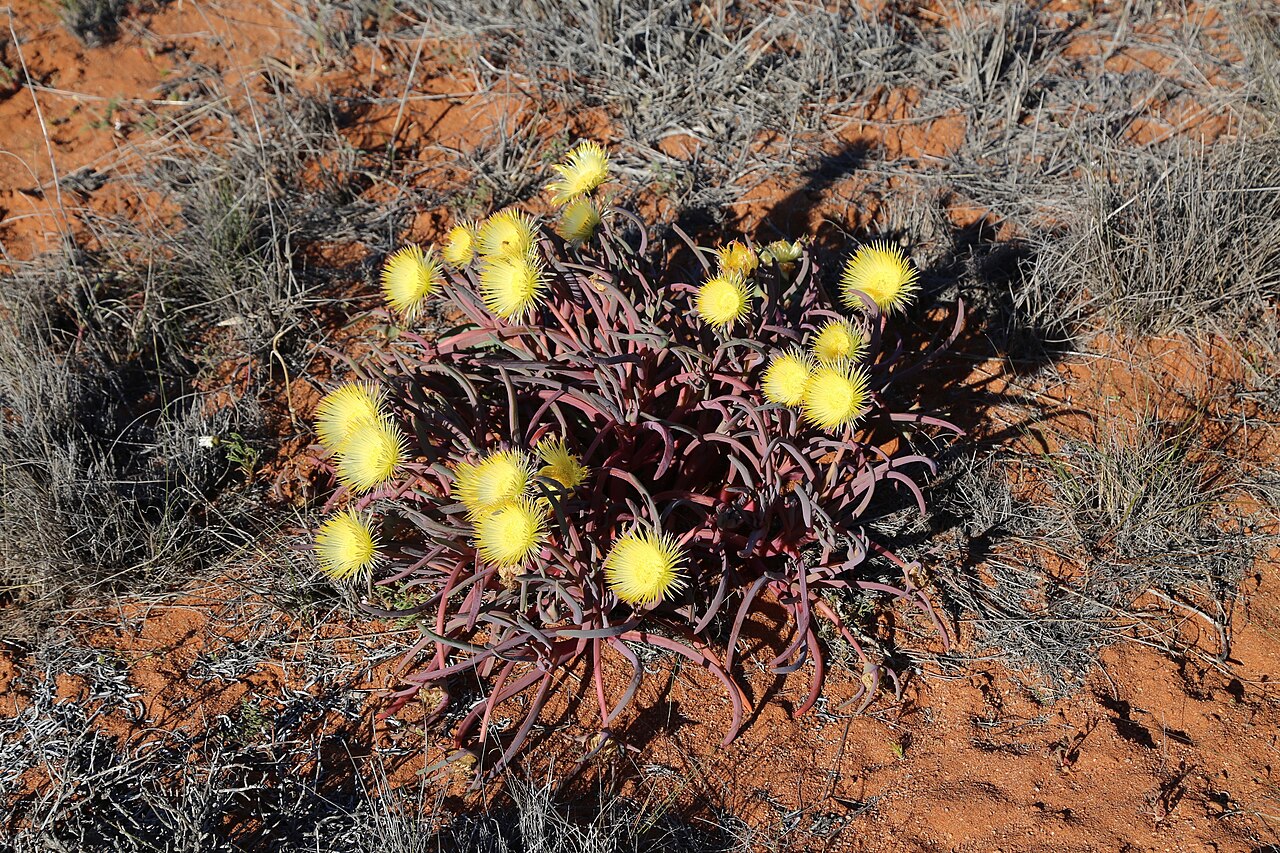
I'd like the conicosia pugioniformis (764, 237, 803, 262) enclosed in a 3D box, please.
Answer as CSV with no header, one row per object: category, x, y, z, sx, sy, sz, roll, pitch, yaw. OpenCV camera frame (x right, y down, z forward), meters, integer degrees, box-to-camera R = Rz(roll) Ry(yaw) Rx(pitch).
conicosia pugioniformis,0.551,-0.679,4.519,0.106,0.074,0.120,-13,60,20

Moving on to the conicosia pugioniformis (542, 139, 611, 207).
conicosia pugioniformis,-0.204,-0.960,4.488,0.313,0.323,0.140,-39,95,16

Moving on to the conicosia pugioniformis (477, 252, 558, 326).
conicosia pugioniformis,-0.462,-0.488,4.314,0.265,0.307,0.225,-1,77,2

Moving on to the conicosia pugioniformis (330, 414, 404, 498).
conicosia pugioniformis,-0.927,0.098,4.063,0.241,0.114,0.216,-23,78,-3

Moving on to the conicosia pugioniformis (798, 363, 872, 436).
conicosia pugioniformis,0.691,-0.089,4.168,0.252,0.304,0.231,-1,77,2

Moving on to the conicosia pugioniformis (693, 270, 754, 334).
conicosia pugioniformis,0.309,-0.436,4.239,0.221,0.206,0.206,-15,77,-1

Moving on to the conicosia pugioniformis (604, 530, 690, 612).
conicosia pugioniformis,0.015,0.473,3.997,0.263,0.194,0.242,-36,78,-6

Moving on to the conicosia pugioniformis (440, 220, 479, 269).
conicosia pugioniformis,-0.663,-0.682,4.414,0.131,0.103,0.187,12,79,5

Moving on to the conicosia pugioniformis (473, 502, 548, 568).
conicosia pugioniformis,-0.425,0.358,3.967,0.254,0.138,0.177,-18,77,-2

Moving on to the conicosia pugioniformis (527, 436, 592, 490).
conicosia pugioniformis,-0.278,0.110,4.086,0.139,0.063,0.200,-32,84,24

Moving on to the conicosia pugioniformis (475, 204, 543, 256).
conicosia pugioniformis,-0.484,-0.704,4.334,0.236,0.173,0.218,-4,77,2
